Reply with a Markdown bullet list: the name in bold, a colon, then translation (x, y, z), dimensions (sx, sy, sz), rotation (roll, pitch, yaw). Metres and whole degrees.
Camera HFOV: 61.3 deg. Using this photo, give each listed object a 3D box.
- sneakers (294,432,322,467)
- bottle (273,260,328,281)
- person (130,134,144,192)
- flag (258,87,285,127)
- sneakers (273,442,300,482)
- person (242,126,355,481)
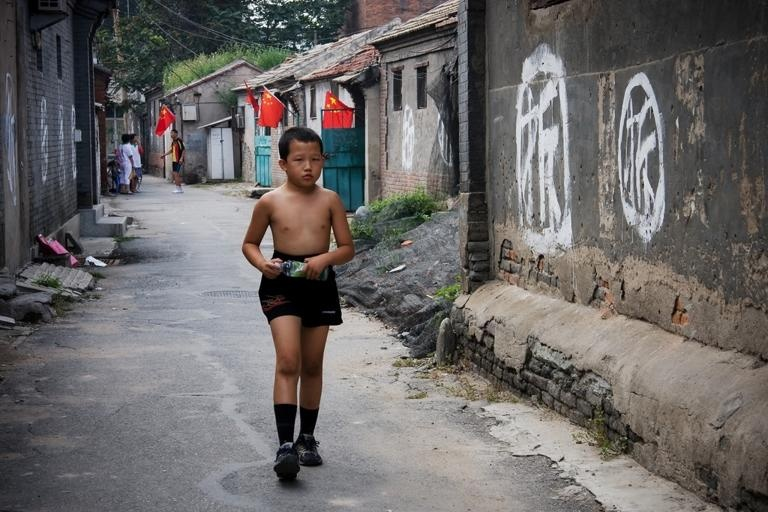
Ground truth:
- **sneakers**: translation (-0.631, 1.588, 5.251), dimensions (0.134, 0.147, 0.323), rotation (-2, 6, -20)
- **bottle**: translation (-0.611, 0.129, 4.948), dimensions (0.362, 0.173, 0.121), rotation (-1, 9, -7)
- **person**: translation (-13.761, -5.218, 35.520), dimensions (0.795, 2.882, 0.709), rotation (8, 27, 5)
- **flag**: translation (-4.576, -5.972, 25.956), dimensions (0.879, 1.517, 2.197), rotation (-2, 9, -11)
- **sneakers**: translation (-0.751, 1.582, 4.919), dimensions (0.177, 0.327, 0.227), rotation (-2, 9, -11)
- **person**: translation (-0.637, 0.368, 5.087), dimensions (0.753, 2.713, 0.732), rotation (-5, 10, -29)
